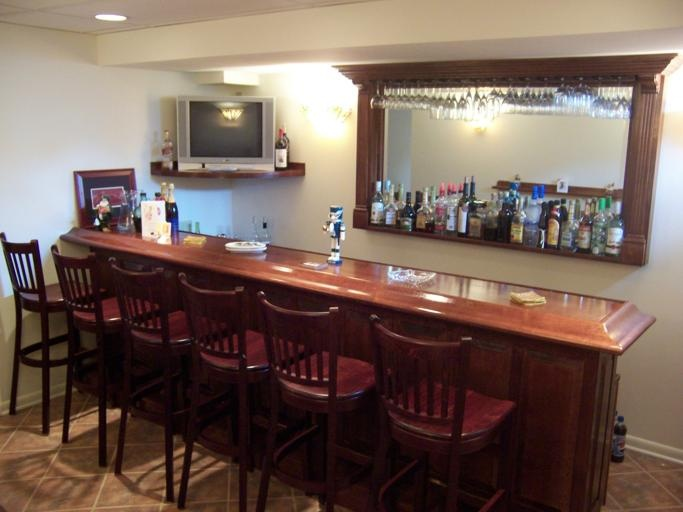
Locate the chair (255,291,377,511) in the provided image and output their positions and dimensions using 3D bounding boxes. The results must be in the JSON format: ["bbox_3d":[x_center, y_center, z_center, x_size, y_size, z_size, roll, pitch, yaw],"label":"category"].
[{"bbox_3d":[-0.134,0.865,3.115,0.636,1.438,0.741,2,13,2],"label":"chair"}]

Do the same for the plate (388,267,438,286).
[{"bbox_3d":[0.413,0.118,3.374,0.311,0.010,0.374,6,14,18],"label":"plate"}]

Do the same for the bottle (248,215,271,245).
[{"bbox_3d":[-0.836,-0.274,5.589,0.138,0.256,0.310,-11,18,-43],"label":"bottle"}]

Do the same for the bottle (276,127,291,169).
[{"bbox_3d":[-0.559,-1.022,5.226,0.124,0.382,0.152,2,13,3],"label":"bottle"}]

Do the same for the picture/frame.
[{"bbox_3d":[-2.014,-0.475,4.653,0.034,0.483,0.487,1,6,42],"label":"picture/frame"}]

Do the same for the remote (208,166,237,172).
[{"bbox_3d":[-1.093,-0.809,5.084,0.130,0.032,0.108,2,15,-2],"label":"remote"}]

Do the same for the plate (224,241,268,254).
[{"bbox_3d":[-0.678,-0.074,3.925,0.303,0.060,0.246,1,13,-3],"label":"plate"}]

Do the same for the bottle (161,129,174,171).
[{"bbox_3d":[-1.604,-0.998,5.134,0.130,0.349,0.112,-7,16,-34],"label":"bottle"}]
